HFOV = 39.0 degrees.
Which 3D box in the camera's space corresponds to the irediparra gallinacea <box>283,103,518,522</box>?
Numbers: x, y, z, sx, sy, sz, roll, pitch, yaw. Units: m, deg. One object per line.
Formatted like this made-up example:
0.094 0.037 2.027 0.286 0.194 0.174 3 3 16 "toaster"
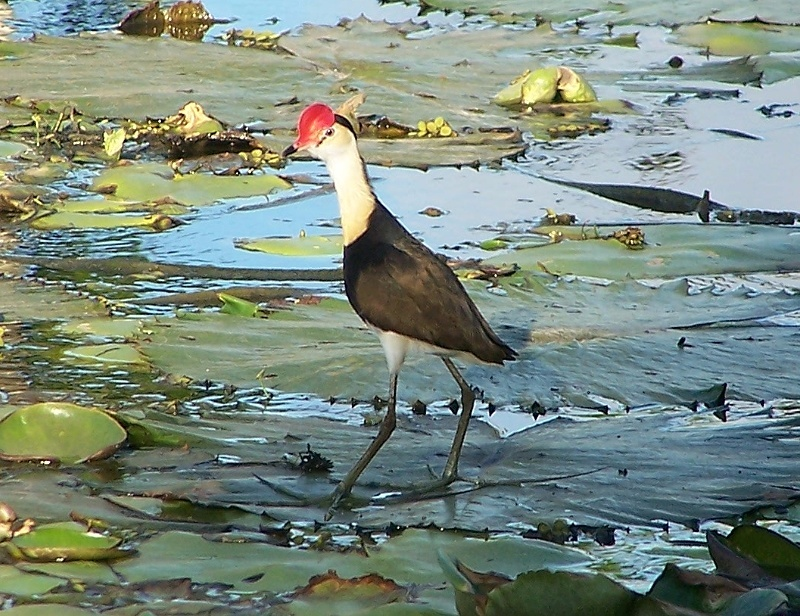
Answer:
0.086 -0.145 6.529 0.766 2.092 1.279 -11 17 -23 "irediparra gallinacea"
